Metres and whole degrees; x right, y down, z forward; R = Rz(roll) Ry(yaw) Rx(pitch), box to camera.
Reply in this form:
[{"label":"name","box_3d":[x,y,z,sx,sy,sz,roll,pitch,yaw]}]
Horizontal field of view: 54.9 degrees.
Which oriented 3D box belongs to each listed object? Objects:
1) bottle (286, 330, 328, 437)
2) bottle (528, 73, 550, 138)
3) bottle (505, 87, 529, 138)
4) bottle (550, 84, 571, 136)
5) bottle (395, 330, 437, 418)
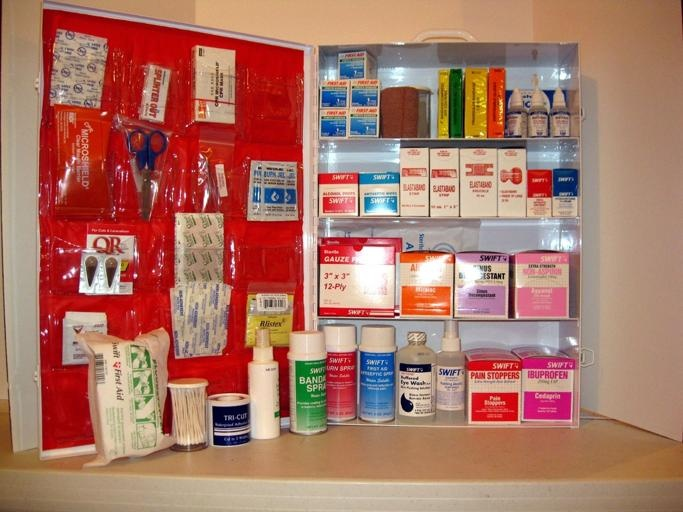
[{"label":"bottle","box_3d":[-0.106,0.389,2.020,0.116,0.313,0.062,-2,2,-7]},{"label":"bottle","box_3d":[0.666,-0.502,2.210,0.069,0.217,0.129,-1,2,18]},{"label":"bottle","box_3d":[0.592,-0.482,2.214,0.072,0.177,0.136,-1,2,16]},{"label":"bottle","box_3d":[0.740,-0.475,2.188,0.061,0.165,0.116,0,2,37]},{"label":"bottle","box_3d":[0.241,0.383,2.124,0.126,0.272,0.068,-1,2,8]}]
